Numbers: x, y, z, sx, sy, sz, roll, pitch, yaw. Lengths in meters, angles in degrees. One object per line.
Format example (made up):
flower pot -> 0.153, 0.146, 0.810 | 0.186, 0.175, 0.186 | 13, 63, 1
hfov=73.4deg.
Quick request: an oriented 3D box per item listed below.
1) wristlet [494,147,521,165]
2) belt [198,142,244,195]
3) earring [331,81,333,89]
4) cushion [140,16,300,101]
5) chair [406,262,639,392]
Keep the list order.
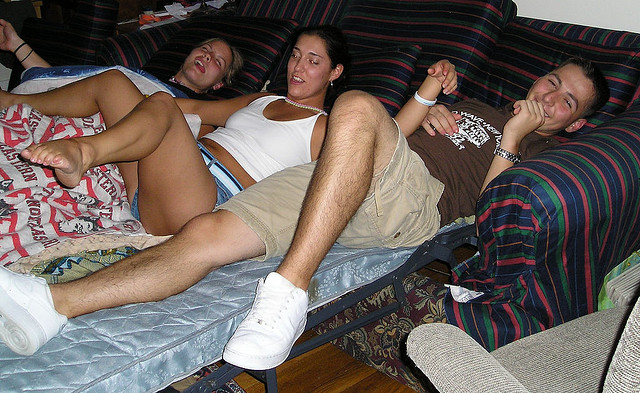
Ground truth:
wristlet -> 0.848, -0.174, 1.951 | 0.089, 0.025, 0.095 | 19, 7, -27
belt -> -0.466, -0.132, 2.037 | 0.270, 0.054, 0.149 | 44, 4, 0
earring -> 0.062, -0.657, 2.506 | 0.013, 0.040, 0.013 | -12, 29, -6
cushion -> -0.815, -1.075, 3.311 | 1.117, 0.279, 1.185 | 9, 32, -13
chair -> 0.684, 0.408, 1.386 | 0.408, 0.300, 0.345 | 51, 14, -35
